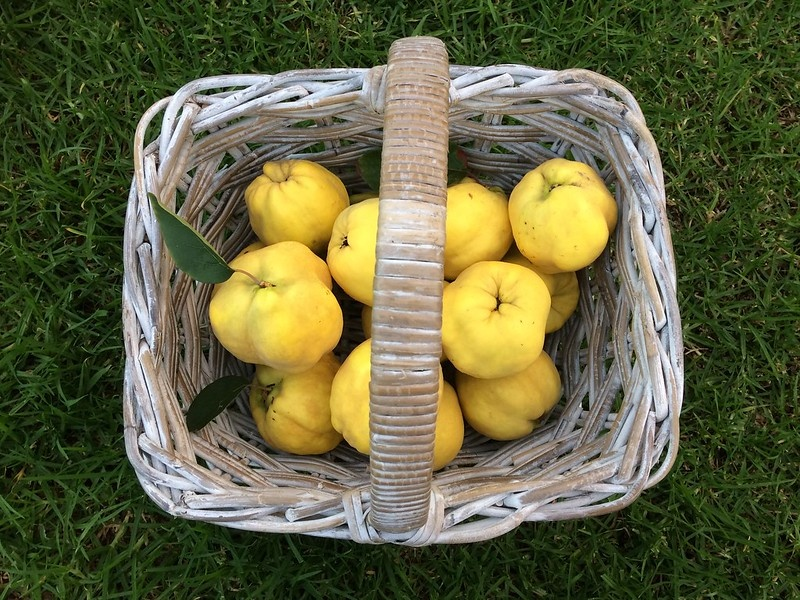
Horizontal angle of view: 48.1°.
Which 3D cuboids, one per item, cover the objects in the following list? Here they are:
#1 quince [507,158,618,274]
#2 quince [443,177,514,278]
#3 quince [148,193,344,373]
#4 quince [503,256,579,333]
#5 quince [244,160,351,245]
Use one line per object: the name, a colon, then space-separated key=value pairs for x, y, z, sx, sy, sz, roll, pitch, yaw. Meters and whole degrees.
quince: x=0.280 y=-0.141 z=1.655 sx=0.205 sy=0.190 sz=0.200 roll=5 pitch=55 yaw=4
quince: x=0.126 y=-0.120 z=1.594 sx=0.145 sy=0.159 sz=0.169 roll=0 pitch=106 yaw=-7
quince: x=-0.259 y=-0.023 z=1.573 sx=0.320 sy=0.278 sz=0.211 roll=20 pitch=59 yaw=21
quince: x=0.240 y=-0.010 z=1.729 sx=0.155 sy=0.138 sz=0.135 roll=10 pitch=97 yaw=-5
quince: x=-0.183 y=-0.183 z=1.695 sx=0.171 sy=0.157 sz=0.157 roll=-42 pitch=120 yaw=-49
